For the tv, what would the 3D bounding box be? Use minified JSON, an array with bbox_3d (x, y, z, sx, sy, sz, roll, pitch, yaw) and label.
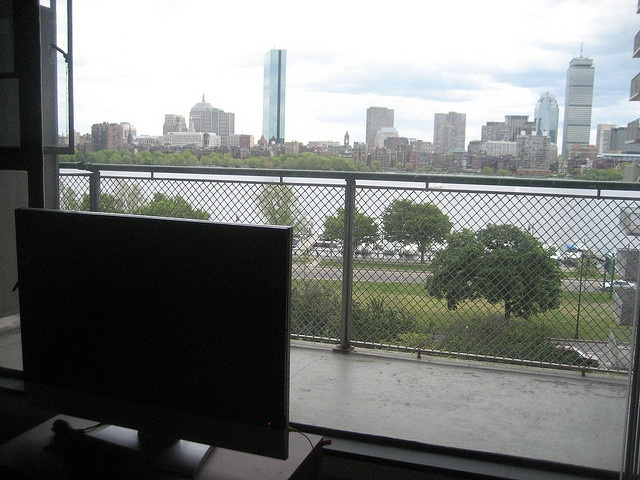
[{"bbox_3d":[-0.567,0.364,2.090,0.840,0.646,0.090,4,11,17],"label":"tv"}]
